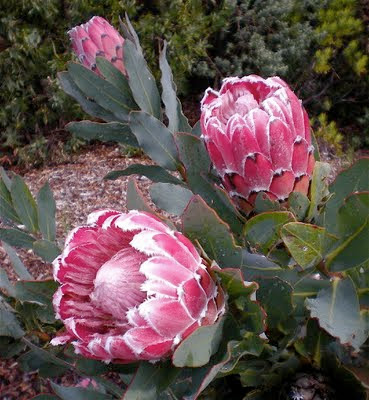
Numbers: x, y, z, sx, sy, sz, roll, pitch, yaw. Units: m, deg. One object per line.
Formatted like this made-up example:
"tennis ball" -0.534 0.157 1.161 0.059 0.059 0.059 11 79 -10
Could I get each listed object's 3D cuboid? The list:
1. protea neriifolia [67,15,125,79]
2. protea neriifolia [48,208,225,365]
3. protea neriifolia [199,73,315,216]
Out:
"protea neriifolia" -0.173 -0.319 1.003 0.092 0.099 0.132 -27 50 -14
"protea neriifolia" -0.067 0.110 0.599 0.212 0.135 0.175 14 52 20
"protea neriifolia" 0.120 -0.075 0.713 0.143 0.188 0.138 -6 39 23
